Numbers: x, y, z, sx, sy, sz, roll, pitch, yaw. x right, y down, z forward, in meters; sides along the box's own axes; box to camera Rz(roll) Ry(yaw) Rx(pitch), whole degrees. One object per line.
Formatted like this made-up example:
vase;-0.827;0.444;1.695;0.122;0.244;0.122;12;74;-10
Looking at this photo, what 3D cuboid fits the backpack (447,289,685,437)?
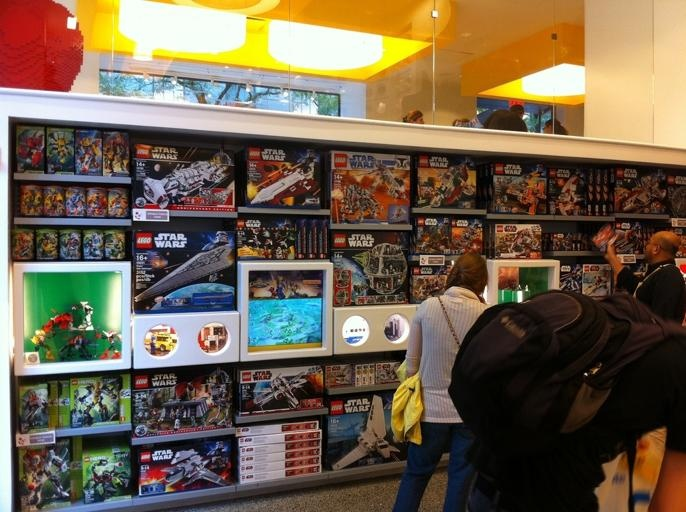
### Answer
backpack;0.698;0.295;1.846;0.648;0.362;0.395;-13;-1;-15
